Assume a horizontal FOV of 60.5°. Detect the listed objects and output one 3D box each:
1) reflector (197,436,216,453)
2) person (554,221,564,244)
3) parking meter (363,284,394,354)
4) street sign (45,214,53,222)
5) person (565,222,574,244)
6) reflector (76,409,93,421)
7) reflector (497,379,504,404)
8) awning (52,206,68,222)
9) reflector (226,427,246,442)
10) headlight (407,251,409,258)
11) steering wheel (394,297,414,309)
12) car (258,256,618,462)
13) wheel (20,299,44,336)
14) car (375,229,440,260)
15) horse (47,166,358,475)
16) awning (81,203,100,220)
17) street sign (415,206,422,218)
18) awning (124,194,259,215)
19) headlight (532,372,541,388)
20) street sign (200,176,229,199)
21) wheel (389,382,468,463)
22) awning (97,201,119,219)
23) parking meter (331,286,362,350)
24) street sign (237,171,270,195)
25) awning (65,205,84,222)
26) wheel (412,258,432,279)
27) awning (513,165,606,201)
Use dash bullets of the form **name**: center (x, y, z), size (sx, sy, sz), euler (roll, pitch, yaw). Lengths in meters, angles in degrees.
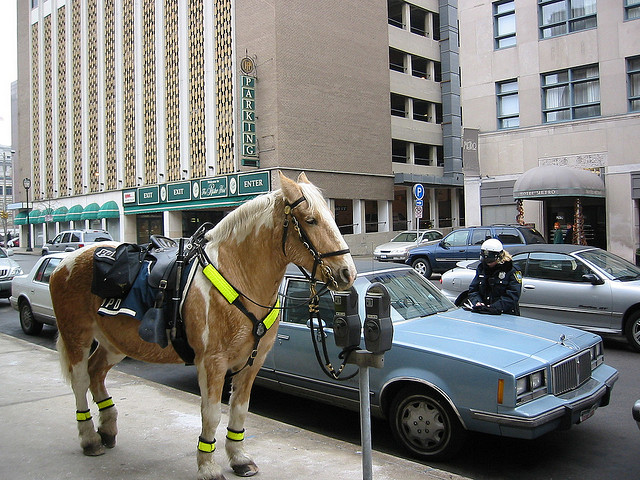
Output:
- **reflector**: center (-1.060, 1.933, 5.185), size (0.114, 0.103, 0.144), euler (4, -8, 13)
- **person**: center (10.047, -0.343, 23.173), size (0.289, 0.883, 0.853), euler (-1, 4, 21)
- **parking meter**: center (0.489, 0.658, 4.638), size (0.238, 0.581, 0.189), euler (-2, 3, 5)
- **street sign**: center (-22.811, -1.942, 46.346), size (0.418, 0.594, 1.602), euler (-5, 5, -40)
- **person**: center (10.907, -0.310, 24.074), size (0.348, 0.846, 1.003), euler (0, 4, 24)
- **reflector**: center (-2.500, 1.848, 5.809), size (0.108, 0.097, 0.128), euler (4, -6, -34)
- **reflector**: center (1.883, 1.587, 5.736), size (0.062, 0.250, 0.048), euler (0, 4, 23)
- **awning**: center (-21.477, -2.248, 45.290), size (1.179, 1.282, 1.231), euler (0, -3, -5)
- **reflector**: center (-0.845, 1.929, 5.465), size (0.130, 0.091, 0.132), euler (1, -7, -9)
- **headlight**: center (3.625, 0.549, 22.693), size (0.114, 0.428, 0.109), euler (2, -2, 11)
- **steering wheel**: center (1.109, 0.825, 7.251), size (0.144, 0.104, 0.452), euler (0, 4, 32)
- **car**: center (1.746, 1.416, 6.561), size (4.865, 1.686, 2.122), euler (1, 5, 41)
- **wheel**: center (-6.537, 1.741, 12.482), size (0.306, 0.892, 0.825), euler (3, -2, -44)
- **car**: center (3.826, 0.189, 25.462), size (1.322, 1.018, 3.161), euler (-1, 0, 32)
- **horse**: center (-1.214, 0.873, 5.405), size (3.137, 2.947, 0.878), euler (0, 4, 29)
- **awning**: center (-17.796, -2.241, 42.471), size (1.562, 1.205, 1.053), euler (-1, 2, 35)
- **street sign**: center (4.077, -1.204, 22.798), size (0.163, 0.479, 0.459), euler (-2, 4, -2)
- **awning**: center (-8.600, -2.318, 35.787), size (12.846, 0.911, 0.922), euler (1, 5, 40)
- **headlight**: center (2.346, 1.521, 5.937), size (0.047, 0.141, 0.131), euler (2, -1, -40)
- **street sign**: center (-6.491, -3.281, 33.611), size (2.567, 1.240, 0.274), euler (2, 5, 44)
- **wheel**: center (1.182, 2.050, 6.145), size (0.880, 0.895, 0.095), euler (0, 4, 30)
- **awning**: center (-15.769, -2.284, 40.916), size (1.232, 0.947, 1.294), euler (-1, -3, 4)
- **parking meter**: center (0.225, 0.689, 4.650), size (0.224, 0.534, 0.240), euler (-2, 3, 1)
- **street sign**: center (-3.817, -3.329, 31.495), size (2.576, 1.265, 0.290), euler (1, 5, 43)
- **awning**: center (-19.565, -2.244, 43.917), size (0.992, 1.278, 2.526), euler (-5, 5, -41)
- **wheel**: center (3.900, 1.055, 20.958), size (0.704, 0.745, 0.622), euler (-1, 4, 11)
- **awning**: center (10.559, -2.589, 24.881), size (4.255, 1.400, 4.598), euler (0, 0, 7)
